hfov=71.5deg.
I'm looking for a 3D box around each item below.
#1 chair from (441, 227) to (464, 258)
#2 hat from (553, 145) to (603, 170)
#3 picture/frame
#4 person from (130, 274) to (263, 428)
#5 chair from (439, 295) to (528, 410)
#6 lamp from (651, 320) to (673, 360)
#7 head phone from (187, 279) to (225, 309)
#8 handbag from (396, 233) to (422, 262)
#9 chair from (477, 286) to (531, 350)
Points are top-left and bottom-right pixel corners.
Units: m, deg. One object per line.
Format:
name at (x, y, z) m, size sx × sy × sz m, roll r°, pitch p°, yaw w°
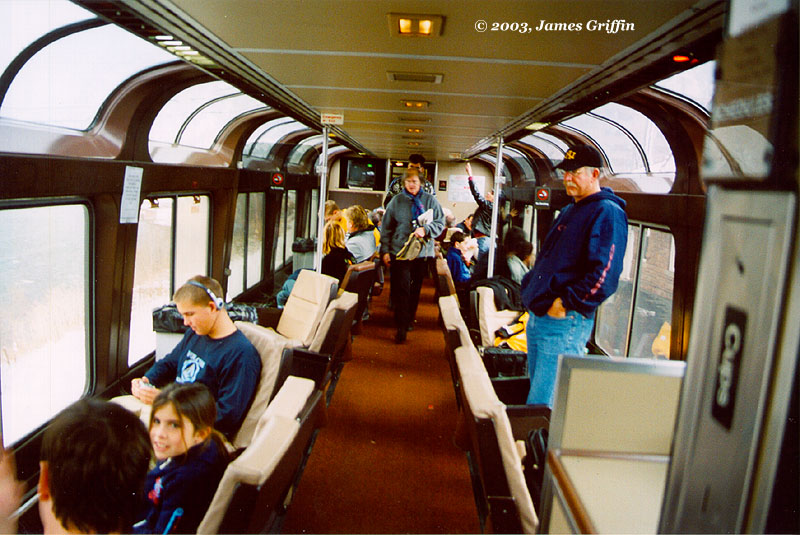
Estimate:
chair at (0.882, -0.424, 9.340) m, size 0.391 × 0.472 × 0.529 m, roll 11°, pitch -28°, yaw 0°
hat at (1.243, -0.749, 3.805) m, size 0.237 × 0.125 × 0.176 m, roll 8°, pitch 14°, yaw 4°
picture/frame at (0.839, 0.701, 2.156) m, size 0.717 × 0.693 × 0.386 m, roll 4°, pitch -7°, yaw 2°
person at (-1.451, 0.626, 3.792) m, size 0.937 × 1.045 × 0.820 m, roll 8°, pitch 10°, yaw 33°
chair at (0.733, 0.695, 4.645) m, size 0.609 × 0.749 × 1.060 m, roll -3°, pitch 11°, yaw -5°
lamp at (2.079, 0.574, 4.385) m, size 0.112 × 0.334 × 0.451 m, roll 8°, pitch 9°, yaw 22°
head phone at (-1.297, 0.165, 3.711) m, size 0.228 × 0.063 × 0.171 m, roll 36°, pitch 4°, yaw 12°
handbag at (0.112, -0.254, 7.151) m, size 0.301 × 0.353 × 0.123 m, roll 9°, pitch 8°, yaw -12°
chair at (0.995, 0.517, 5.597) m, size 0.567 × 0.589 × 0.482 m, roll 1°, pitch 7°, yaw 5°
